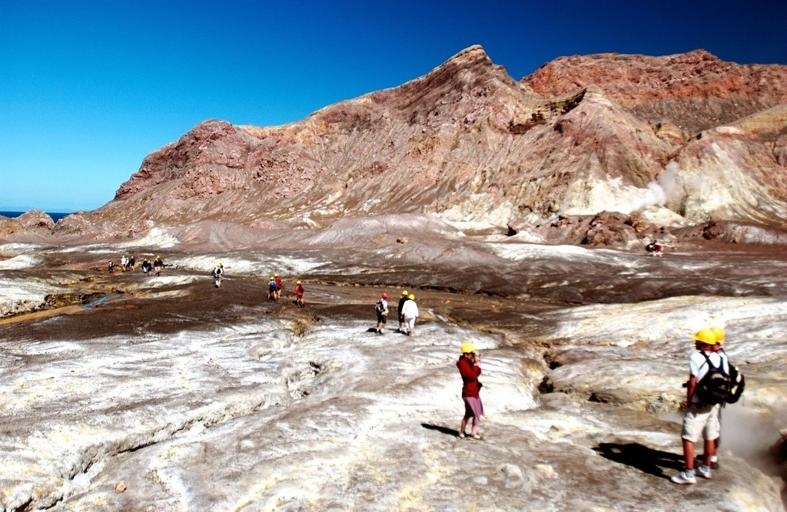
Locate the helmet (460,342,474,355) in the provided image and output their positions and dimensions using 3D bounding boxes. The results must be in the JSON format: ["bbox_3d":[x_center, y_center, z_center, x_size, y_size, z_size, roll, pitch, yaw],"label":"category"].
[{"bbox_3d":[2.049,2.588,13.261,0.295,0.248,0.286,0,13,-7],"label":"helmet"}]

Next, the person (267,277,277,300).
[{"bbox_3d":[-7.626,2.178,30.581,0.542,1.318,0.844,-1,16,-12],"label":"person"}]

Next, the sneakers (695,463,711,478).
[{"bbox_3d":[7.645,5.352,11.948,0.259,0.159,0.508,-2,-6,19],"label":"sneakers"}]

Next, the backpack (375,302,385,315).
[{"bbox_3d":[-0.592,2.468,22.594,0.231,0.611,0.564,-13,21,-41],"label":"backpack"}]

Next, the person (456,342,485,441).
[{"bbox_3d":[2.174,3.849,13.700,0.830,2.909,1.021,6,18,8],"label":"person"}]

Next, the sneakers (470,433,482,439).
[{"bbox_3d":[2.342,5.131,13.647,0.333,0.083,0.177,-4,-5,38],"label":"sneakers"}]
